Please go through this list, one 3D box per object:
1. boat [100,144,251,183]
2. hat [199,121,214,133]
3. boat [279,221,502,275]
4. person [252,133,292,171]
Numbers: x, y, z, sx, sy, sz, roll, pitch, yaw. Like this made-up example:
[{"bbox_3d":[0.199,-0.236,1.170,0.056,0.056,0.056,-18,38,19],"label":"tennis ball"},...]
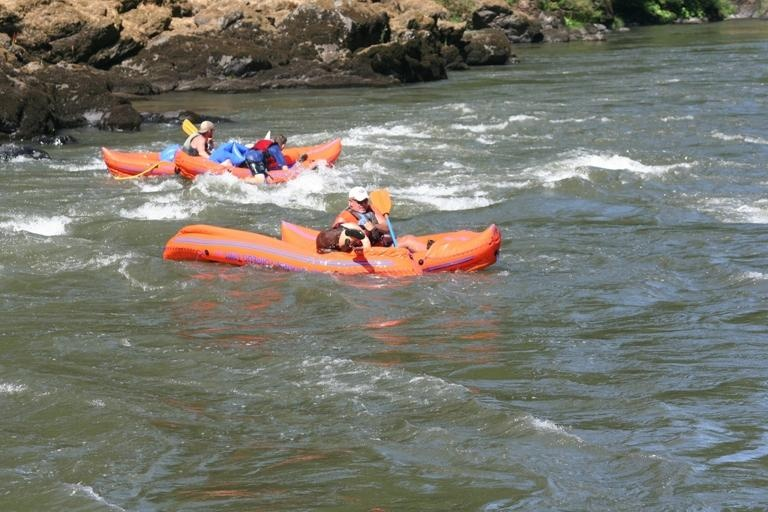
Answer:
[{"bbox_3d":[-4.954,-2.066,28.979,2.486,0.475,0.970,-3,15,-7],"label":"boat"},{"bbox_3d":[-3.939,-2.887,29.070,0.415,0.145,0.402,2,26,5],"label":"hat"},{"bbox_3d":[0.243,-0.122,24.002,3.506,0.604,1.295,-2,-3,5],"label":"boat"},{"bbox_3d":[-2.470,-2.286,28.331,0.645,0.803,0.822,-6,9,9],"label":"person"}]
